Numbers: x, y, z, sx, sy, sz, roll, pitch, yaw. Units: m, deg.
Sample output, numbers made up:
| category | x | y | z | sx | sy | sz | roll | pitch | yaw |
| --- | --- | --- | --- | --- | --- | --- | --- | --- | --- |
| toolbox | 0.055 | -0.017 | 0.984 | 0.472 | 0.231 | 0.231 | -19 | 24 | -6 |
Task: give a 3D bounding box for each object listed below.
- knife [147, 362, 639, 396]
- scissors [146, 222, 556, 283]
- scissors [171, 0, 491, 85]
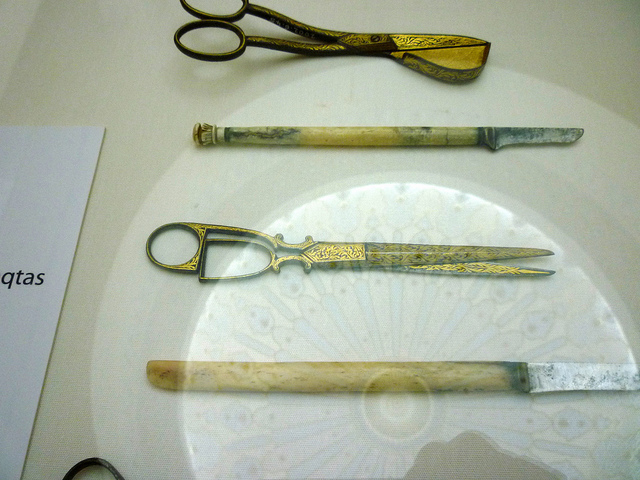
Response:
| category | x | y | z | sx | sy | sz | roll | pitch | yaw |
| --- | --- | --- | --- | --- | --- | --- | --- | --- | --- |
| knife | 0.182 | 0.346 | 1.687 | 1.222 | 0.096 | 0.013 | -2 | -22 | 1 |
| scissors | 0.121 | 0.040 | 1.800 | 0.971 | 0.177 | 0.083 | 1 | -26 | 5 |
| scissors | 0.066 | -0.562 | 2.105 | 1.071 | 0.366 | 0.082 | 3 | -26 | 1 |
